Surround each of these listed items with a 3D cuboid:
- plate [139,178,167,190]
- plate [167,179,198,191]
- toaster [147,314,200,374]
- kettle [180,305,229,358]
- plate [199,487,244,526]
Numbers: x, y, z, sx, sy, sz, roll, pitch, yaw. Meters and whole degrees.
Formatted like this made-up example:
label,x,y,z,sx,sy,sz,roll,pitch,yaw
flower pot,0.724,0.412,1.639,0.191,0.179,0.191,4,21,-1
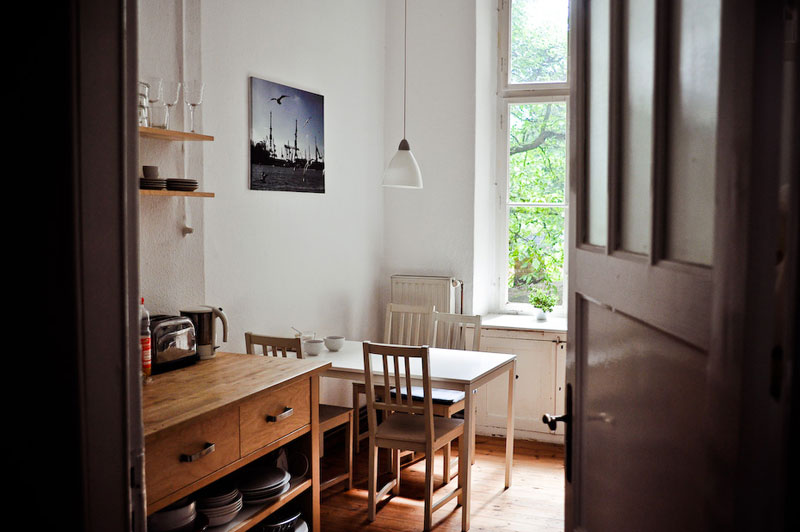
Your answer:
label,x,y,z,sx,sy,sz,roll,pitch,yaw
plate,-1.119,-0.370,2.799,0.058,0.050,0.125,6,7,44
plate,-1.043,-0.385,2.932,0.138,0.064,0.127,-2,6,-34
toaster,-1.035,0.340,2.738,0.133,0.211,0.253,3,5,29
kettle,-0.937,0.330,3.042,0.273,0.299,0.196,-1,0,-8
plate,-0.671,0.922,2.338,0.075,0.113,0.209,5,7,36
